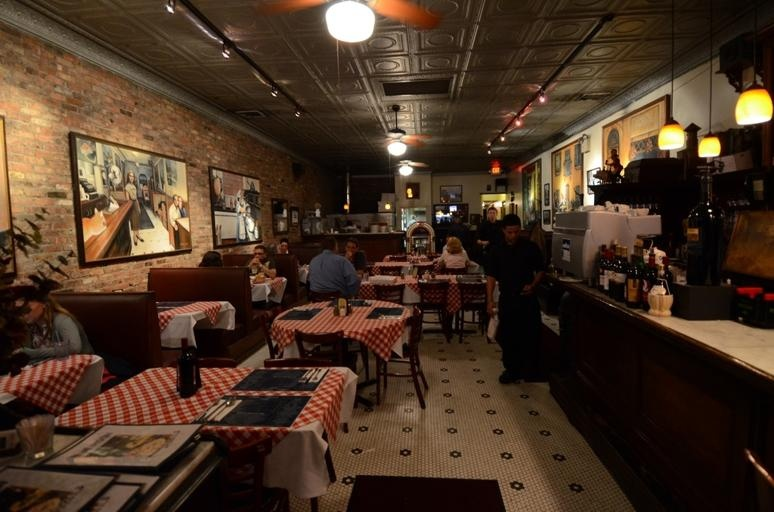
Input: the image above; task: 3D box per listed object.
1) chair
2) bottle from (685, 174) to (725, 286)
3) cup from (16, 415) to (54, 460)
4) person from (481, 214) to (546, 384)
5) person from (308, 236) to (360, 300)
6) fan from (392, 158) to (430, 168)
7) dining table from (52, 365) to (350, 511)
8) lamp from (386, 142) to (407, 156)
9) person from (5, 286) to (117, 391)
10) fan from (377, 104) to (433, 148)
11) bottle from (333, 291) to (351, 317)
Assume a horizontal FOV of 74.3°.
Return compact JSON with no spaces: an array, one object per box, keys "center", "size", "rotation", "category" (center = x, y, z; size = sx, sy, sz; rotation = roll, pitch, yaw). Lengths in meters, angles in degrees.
[{"center":[-0.309,0.860,5.625],"size":[1.496,0.846,1.389],"rotation":[3,11,26],"category":"chair"},{"center":[2.628,-0.236,4.201],"size":[0.248,0.902,0.406],"rotation":[3,8,34],"category":"bottle"},{"center":[-2.302,1.185,3.331],"size":[0.231,0.261,0.236],"rotation":[-12,-3,-1],"category":"cup"},{"center":[1.591,0.518,6.316],"size":[0.677,2.045,0.435],"rotation":[0,7,10],"category":"person"},{"center":[-0.777,0.158,7.023],"size":[0.806,0.830,0.461],"rotation":[5,13,26],"category":"person"},{"center":[0.673,-2.712,14.788],"size":[1.199,0.176,1.168],"rotation":[-5,9,-44],"category":"fan"},{"center":[-1.510,1.317,4.125],"size":[1.949,0.396,1.496],"rotation":[0,15,-19],"category":"dining table"},{"center":[0.179,-1.943,9.163],"size":[0.300,0.197,0.357],"rotation":[-2,7,-8],"category":"lamp"},{"center":[-3.265,0.858,5.004],"size":[0.604,1.090,0.793],"rotation":[-4,14,40],"category":"person"},{"center":[0.329,-2.794,11.265],"size":[0.990,0.491,1.010],"rotation":[3,14,22],"category":"fan"},{"center":[-0.508,0.560,5.846],"size":[0.211,0.387,0.220],"rotation":[1,-1,0],"category":"bottle"}]
